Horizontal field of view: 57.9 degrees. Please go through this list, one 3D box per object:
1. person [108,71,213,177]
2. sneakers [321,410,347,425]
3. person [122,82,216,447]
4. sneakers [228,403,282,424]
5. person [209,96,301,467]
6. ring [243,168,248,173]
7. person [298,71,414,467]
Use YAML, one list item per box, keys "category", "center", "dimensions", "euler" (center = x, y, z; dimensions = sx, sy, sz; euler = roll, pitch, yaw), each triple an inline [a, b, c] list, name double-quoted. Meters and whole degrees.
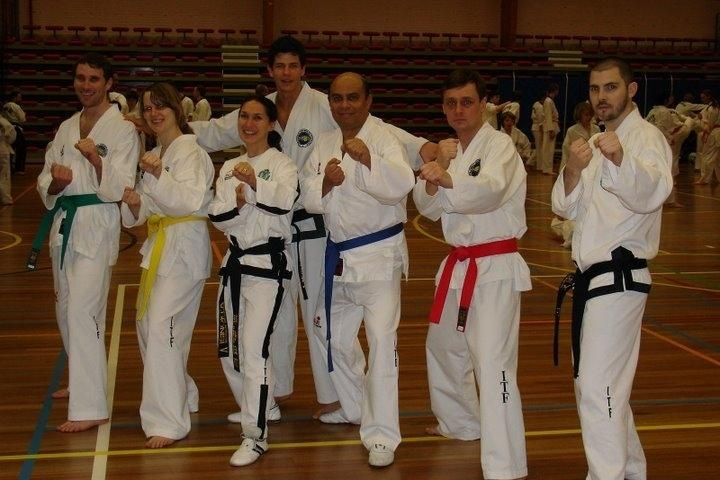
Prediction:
- category: "person"
  center: [-1.503, -0.920, 5.199]
  dimensions: [0.742, 0.813, 0.714]
  euler: [4, 12, 40]
- category: "sneakers"
  center: [-0.195, 1.357, 4.961]
  dimensions: [0.182, 0.062, 0.108]
  euler: [4, 1, 6]
- category: "person"
  center: [-1.405, 0.145, 4.755]
  dimensions: [0.601, 2.557, 0.767]
  euler: [0, 9, 1]
- category: "sneakers"
  center: [-0.837, 1.332, 4.980]
  dimensions: [0.483, 0.178, 0.164]
  euler: [1, 1, -14]
- category: "person"
  center: [-0.725, 0.231, 4.642]
  dimensions: [0.651, 2.498, 0.830]
  euler: [-3, 9, -13]
- category: "ring"
  center: [-0.765, -0.465, 4.382]
  dimensions: [0.018, 0.020, 0.030]
  euler: [10, 31, 9]
- category: "person"
  center: [0.033, 0.151, 4.653]
  dimensions: [0.600, 2.663, 0.923]
  euler: [-7, 11, -35]
